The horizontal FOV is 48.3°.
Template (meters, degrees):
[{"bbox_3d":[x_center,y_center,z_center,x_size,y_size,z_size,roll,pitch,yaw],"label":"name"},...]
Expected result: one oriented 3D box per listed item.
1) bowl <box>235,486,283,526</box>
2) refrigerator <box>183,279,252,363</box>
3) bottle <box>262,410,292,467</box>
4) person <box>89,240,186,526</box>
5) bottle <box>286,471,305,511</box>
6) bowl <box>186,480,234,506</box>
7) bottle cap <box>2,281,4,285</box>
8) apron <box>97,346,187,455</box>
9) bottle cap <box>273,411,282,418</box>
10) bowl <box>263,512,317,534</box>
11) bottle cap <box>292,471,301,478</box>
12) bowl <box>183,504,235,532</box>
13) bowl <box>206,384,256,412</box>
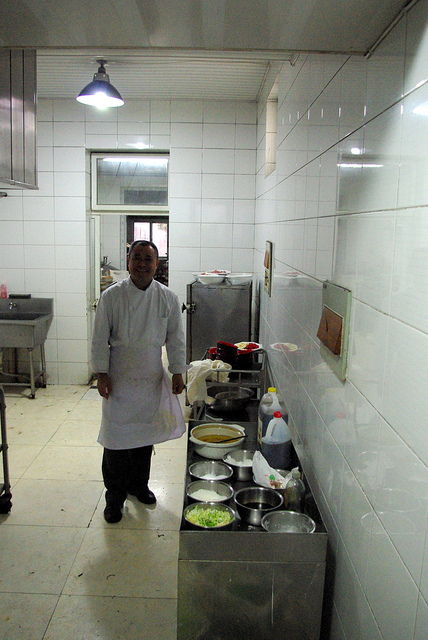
[{"bbox_3d":[0.160,0.638,1.712,0.200,0.086,0.214,-2,-19,-1],"label":"bowl"},{"bbox_3d":[0.001,0.227,4.137,0.552,0.908,0.542,2,-30,0],"label":"refrigerator"},{"bbox_3d":[0.248,0.466,1.873,0.083,0.200,0.114,9,11,43],"label":"bottle"},{"bbox_3d":[-0.396,0.295,2.575,0.475,1.468,0.329,-1,7,-16],"label":"person"},{"bbox_3d":[0.264,0.560,1.564,0.053,0.141,0.064,5,9,23],"label":"bottle"},{"bbox_3d":[-0.018,0.598,1.639,0.166,0.052,0.188,2,9,1],"label":"bowl"},{"bbox_3d":[-2.070,-0.368,4.676,0.015,0.029,0.038,-4,10,-32],"label":"bottle cap"},{"bbox_3d":[-0.394,0.359,2.583,0.504,0.606,0.327,-12,11,-25],"label":"apron"},{"bbox_3d":[0.251,0.369,1.885,0.020,0.012,0.021,2,6,-5],"label":"bottle cap"},{"bbox_3d":[0.230,0.617,1.448,0.153,0.041,0.079,4,9,16],"label":"bowl"},{"bbox_3d":[0.269,0.503,1.564,0.023,0.021,0.024,3,1,-1],"label":"bottle cap"},{"bbox_3d":[-0.019,0.608,1.461,0.161,0.043,0.177,2,9,0],"label":"bowl"},{"bbox_3d":[0.080,0.407,2.535,0.244,0.077,0.310,2,9,0],"label":"bowl"}]
